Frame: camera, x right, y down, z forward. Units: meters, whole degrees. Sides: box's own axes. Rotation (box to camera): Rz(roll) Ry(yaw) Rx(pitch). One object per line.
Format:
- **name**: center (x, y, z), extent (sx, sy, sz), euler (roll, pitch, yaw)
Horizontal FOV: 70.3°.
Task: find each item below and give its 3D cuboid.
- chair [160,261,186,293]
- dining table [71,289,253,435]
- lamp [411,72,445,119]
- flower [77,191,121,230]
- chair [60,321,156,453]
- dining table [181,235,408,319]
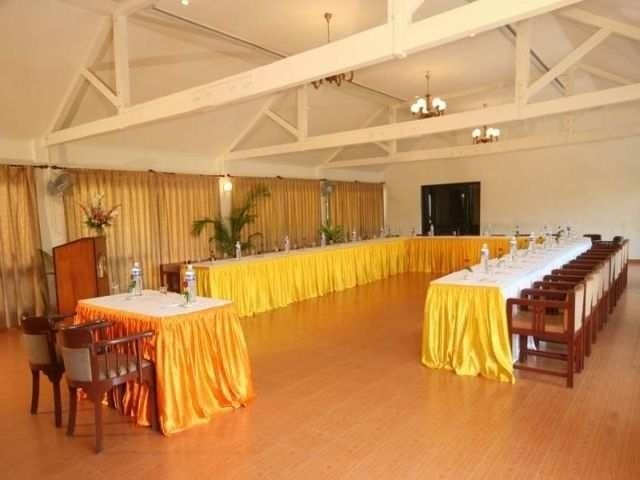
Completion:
- **chair**: center (-2.573, 0.655, 7.964), extent (0.496, 0.548, 0.398), euler (0, -1, 19)
- **dining table**: center (-1.452, 1.195, 4.632), extent (1.703, 0.957, 1.135), euler (0, 2, 35)
- **lamp**: center (1.999, -2.596, 8.294), extent (0.468, 0.809, 0.525), euler (-2, 2, -43)
- **flower**: center (-3.455, -0.378, 7.010), extent (0.509, 0.595, 0.493), euler (-1, 3, -22)
- **chair**: center (-2.028, 1.311, 4.377), extent (0.724, 1.138, 0.796), euler (1, 5, 14)
- **dining table**: center (-0.178, 0.659, 8.887), extent (0.399, 1.186, 4.763), euler (8, 14, 42)
